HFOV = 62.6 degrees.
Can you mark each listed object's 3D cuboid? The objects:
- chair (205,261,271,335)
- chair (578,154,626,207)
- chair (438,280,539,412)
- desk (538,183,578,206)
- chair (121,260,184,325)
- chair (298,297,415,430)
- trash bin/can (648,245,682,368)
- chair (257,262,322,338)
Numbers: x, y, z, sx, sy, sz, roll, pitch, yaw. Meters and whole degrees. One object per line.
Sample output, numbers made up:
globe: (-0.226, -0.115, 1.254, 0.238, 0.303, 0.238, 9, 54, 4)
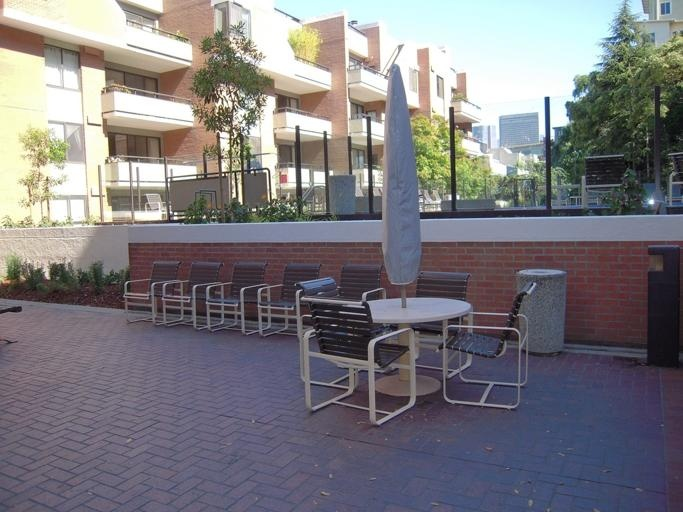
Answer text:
chair: (-1.992, 0.764, 10.622, 1.004, 1.330, 1.133, 2, 1, 3)
chair: (5.053, -1.498, 11.125, 0.702, 0.948, 0.882, -4, 9, -8)
chair: (1.775, 1.058, 6.932, 1.054, 1.397, 0.993, 1, 6, 14)
desk: (4.221, -1.173, 10.902, 1.116, 0.443, 0.264, -7, 11, -28)
chair: (-3.949, 0.765, 11.766, 0.913, 1.261, 1.033, 2, 2, 8)
chair: (0.235, 1.168, 6.890, 1.224, 1.449, 1.302, -1, 5, 18)
trash bin/can: (4.300, 0.671, 7.529, 0.393, 1.614, 0.213, 3, 11, 29)
chair: (-0.932, 0.780, 10.035, 0.889, 1.325, 1.063, 5, 2, 34)
